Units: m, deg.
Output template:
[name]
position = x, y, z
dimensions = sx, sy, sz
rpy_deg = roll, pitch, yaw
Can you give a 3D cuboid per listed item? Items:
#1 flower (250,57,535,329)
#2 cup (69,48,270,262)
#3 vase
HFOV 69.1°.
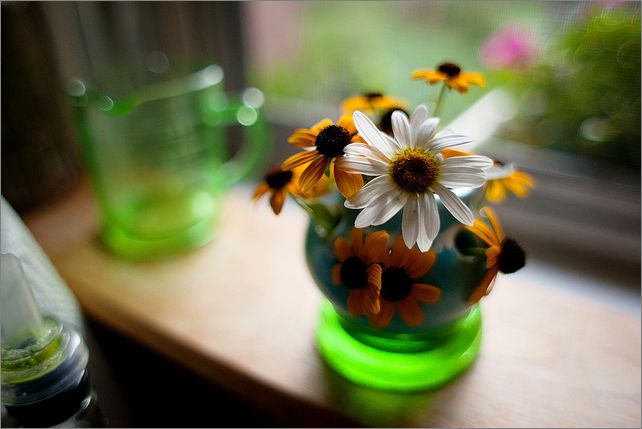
[flower]
position = 0.090, -0.023, 0.738
dimensions = 0.363, 0.338, 0.345
rpy_deg = 13, 34, 25
[cup]
position = -0.369, -0.116, 1.048
dimensions = 0.241, 0.381, 0.382
rpy_deg = -11, 14, -16
[vase]
position = 0.093, 0.082, 0.611
dimensions = 0.218, 0.163, 0.210
rpy_deg = 10, 34, 18
